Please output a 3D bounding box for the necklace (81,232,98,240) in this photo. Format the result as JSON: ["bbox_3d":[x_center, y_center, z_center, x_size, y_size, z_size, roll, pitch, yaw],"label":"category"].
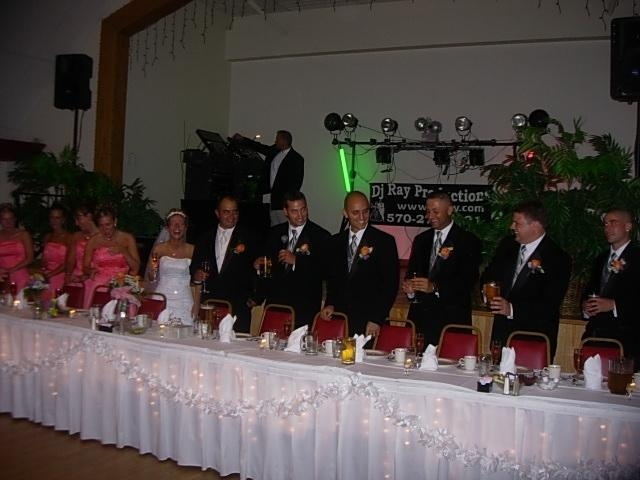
[{"bbox_3d":[-3.026,-0.060,7.863,0.137,0.078,0.190,-5,-11,-15],"label":"necklace"}]

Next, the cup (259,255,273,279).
[{"bbox_3d":[-0.534,0.267,5.807,0.110,0.190,0.090,6,-4,-13],"label":"cup"}]

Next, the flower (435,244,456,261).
[{"bbox_3d":[1.226,0.124,5.769,0.049,0.125,0.124,26,-4,-31],"label":"flower"}]

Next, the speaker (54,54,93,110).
[{"bbox_3d":[-4.247,-2.727,10.330,0.624,0.742,0.441,6,-4,-16],"label":"speaker"}]

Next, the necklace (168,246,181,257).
[{"bbox_3d":[-1.640,0.132,6.801,0.090,0.103,0.023,1,-13,-13],"label":"necklace"}]

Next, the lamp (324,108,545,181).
[{"bbox_3d":[2.056,-1.938,12.167,4.201,1.662,1.223,4,-4,23],"label":"lamp"}]

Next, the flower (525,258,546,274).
[{"bbox_3d":[1.918,0.241,5.326,0.146,0.124,0.069,3,-4,23],"label":"flower"}]

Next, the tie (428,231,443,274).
[{"bbox_3d":[1.136,0.079,5.866,0.088,0.484,0.114,11,-17,10],"label":"tie"}]

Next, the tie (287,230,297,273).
[{"bbox_3d":[-0.291,0.108,6.192,0.083,0.410,0.055,0,-4,15],"label":"tie"}]

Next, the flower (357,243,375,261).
[{"bbox_3d":[0.449,0.121,5.855,0.119,0.135,0.041,14,-23,6],"label":"flower"}]

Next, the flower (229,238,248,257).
[{"bbox_3d":[-0.856,0.084,6.368,0.149,0.135,0.116,-2,29,-10],"label":"flower"}]
